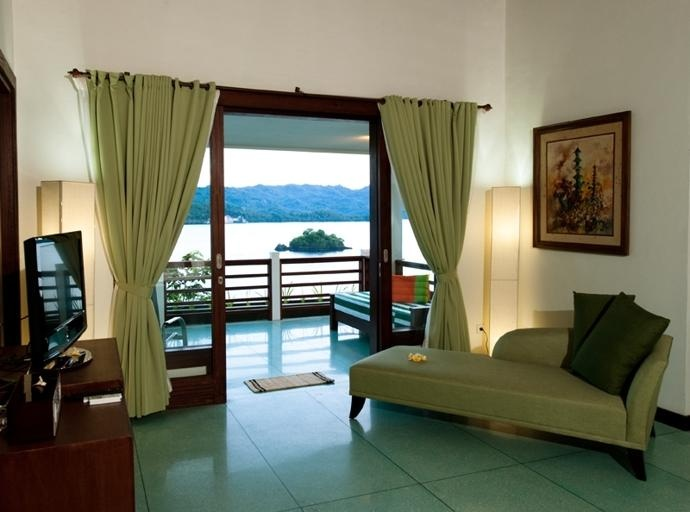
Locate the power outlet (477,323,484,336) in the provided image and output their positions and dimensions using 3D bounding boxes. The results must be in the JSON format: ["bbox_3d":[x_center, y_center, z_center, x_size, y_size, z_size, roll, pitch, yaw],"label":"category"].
[{"bbox_3d":[1.441,0.778,5.357,0.071,0.055,0.085,0,3,5],"label":"power outlet"}]

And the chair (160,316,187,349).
[{"bbox_3d":[-1.469,0.673,4.516,0.223,0.329,0.234,0,2,-13],"label":"chair"}]

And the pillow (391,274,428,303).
[{"bbox_3d":[0.664,0.339,5.150,0.444,0.329,0.252,1,-7,-7],"label":"pillow"}]

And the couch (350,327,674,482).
[{"bbox_3d":[1.216,0.903,4.010,2.215,0.879,0.989,3,6,25],"label":"couch"}]

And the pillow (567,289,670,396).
[{"bbox_3d":[1.828,0.655,3.463,0.201,0.672,0.698,23,16,-7],"label":"pillow"}]
